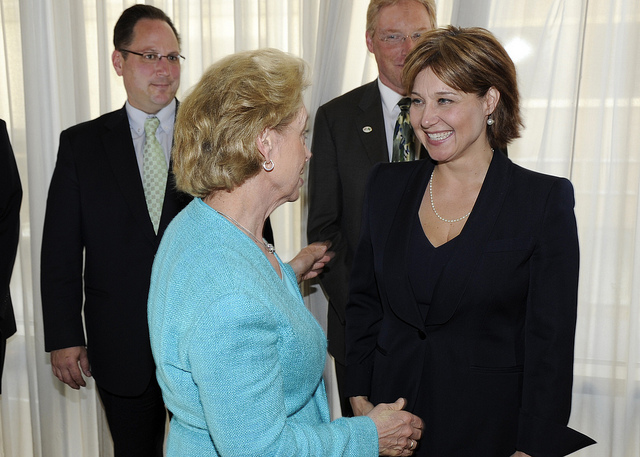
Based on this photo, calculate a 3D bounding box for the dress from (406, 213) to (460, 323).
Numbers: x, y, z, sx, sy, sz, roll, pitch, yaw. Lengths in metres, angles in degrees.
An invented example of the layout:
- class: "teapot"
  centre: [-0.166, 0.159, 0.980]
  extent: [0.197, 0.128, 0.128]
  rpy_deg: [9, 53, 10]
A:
- class: "dress"
  centre: [0.439, 0.145, 2.426]
  extent: [0.191, 0.456, 0.028]
  rpy_deg: [5, 31, -1]

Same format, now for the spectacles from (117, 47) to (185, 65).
- class: "spectacles"
  centre: [-0.874, -0.883, 3.175]
  extent: [0.301, 0.089, 0.077]
  rpy_deg: [-3, 0, -5]

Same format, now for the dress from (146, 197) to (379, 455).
- class: "dress"
  centre: [-0.236, 0.347, 2.361]
  extent: [0.646, 1.204, 0.989]
  rpy_deg: [-8, 25, -11]

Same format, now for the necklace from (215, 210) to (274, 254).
- class: "necklace"
  centre: [-0.257, 0.040, 2.216]
  extent: [0.182, 0.051, 0.120]
  rpy_deg: [45, 2, 23]

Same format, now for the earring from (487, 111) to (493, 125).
- class: "earring"
  centre: [0.669, -0.430, 2.446]
  extent: [0.017, 0.037, 0.024]
  rpy_deg: [-2, 1, 36]

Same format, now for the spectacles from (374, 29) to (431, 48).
- class: "spectacles"
  centre: [0.410, -0.952, 3.108]
  extent: [0.261, 0.083, 0.040]
  rpy_deg: [-3, 0, 8]
